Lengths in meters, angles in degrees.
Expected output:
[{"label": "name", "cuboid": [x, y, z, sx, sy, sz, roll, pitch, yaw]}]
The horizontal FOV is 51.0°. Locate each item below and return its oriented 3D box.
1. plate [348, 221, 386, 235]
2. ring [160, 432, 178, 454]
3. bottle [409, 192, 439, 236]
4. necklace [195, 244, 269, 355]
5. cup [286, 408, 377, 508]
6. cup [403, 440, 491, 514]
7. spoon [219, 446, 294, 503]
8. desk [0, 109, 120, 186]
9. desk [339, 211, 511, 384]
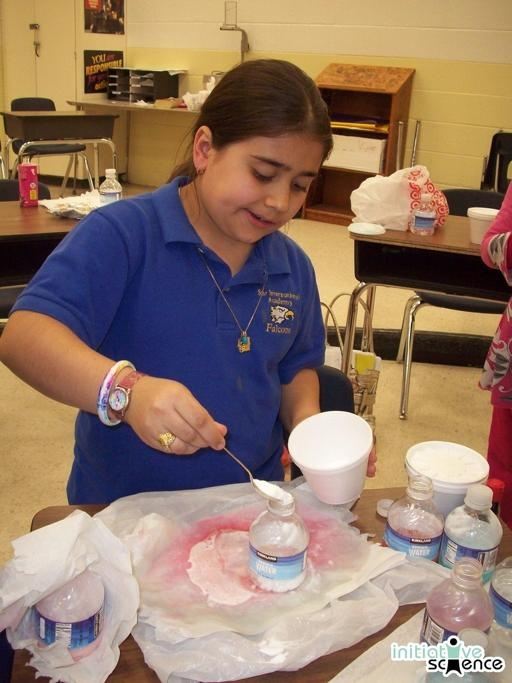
[{"label": "plate", "cuboid": [0.548, -0.558, 2.661, 0.178, 0.061, 0.242, 7, 14, 13]}, {"label": "ring", "cuboid": [-0.118, 0.135, 0.714, 0.020, 0.022, 0.025, -7, 6, -13]}, {"label": "bottle", "cuboid": [0.861, -0.634, 2.683, 0.178, 0.206, 0.152, 1, 14, -11]}, {"label": "necklace", "cuboid": [-0.053, -0.077, 1.037, 0.036, 0.223, 0.200, 7, 11, 36]}, {"label": "cup", "cuboid": [0.128, 0.205, 0.932, 0.151, 0.119, 0.155, -17, 36, 13]}, {"label": "cup", "cuboid": [0.308, 0.199, 0.882, 0.108, 0.085, 0.112, 4, 29, -2]}, {"label": "spoon", "cuboid": [-0.016, 0.184, 0.754, 0.018, 0.124, 0.022, -43, 7, -11]}, {"label": "desk", "cuboid": [-2.008, -2.197, 5.620, 1.133, 1.021, 1.015, -12, 34, -25]}, {"label": "desk", "cuboid": [0.828, -0.286, 3.005, 0.900, 0.835, 0.737, 7, 39, 8]}]
